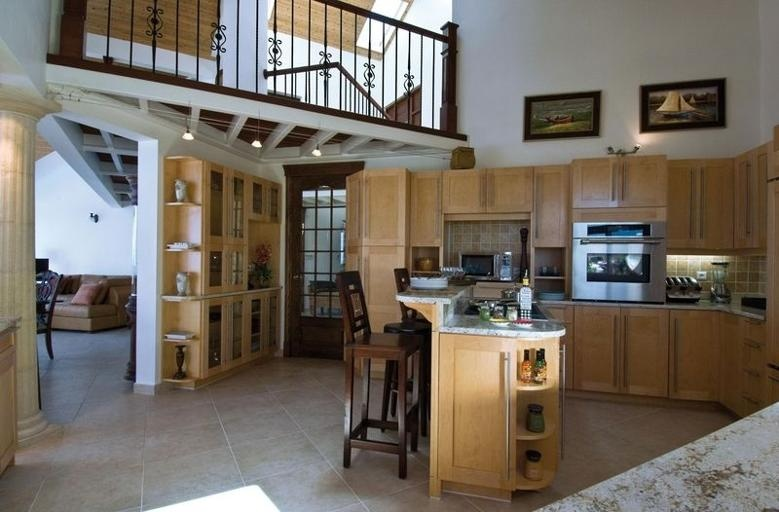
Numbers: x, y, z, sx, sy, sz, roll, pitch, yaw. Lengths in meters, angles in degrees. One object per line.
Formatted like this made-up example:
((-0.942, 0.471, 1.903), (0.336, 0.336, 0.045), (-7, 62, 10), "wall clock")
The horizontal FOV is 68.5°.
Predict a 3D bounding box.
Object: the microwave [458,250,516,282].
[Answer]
((1.336, 0.139, 7.840), (0.645, 0.387, 0.427), (1, -3, 15), "microwave")

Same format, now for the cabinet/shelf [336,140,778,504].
((1.899, 0.515, 6.992), (4.933, 2.320, 3.322), (-1, 0, -5), "cabinet/shelf")

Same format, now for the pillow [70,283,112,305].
((-5.586, 0.706, 10.682), (0.634, 0.450, 0.418), (-2, 1, -25), "pillow")

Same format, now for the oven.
((2.954, 0.073, 7.548), (1.084, 1.037, 0.747), (1, 3, 11), "oven")

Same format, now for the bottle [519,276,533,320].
((1.334, 0.414, 5.654), (0.107, 0.276, 0.306), (-1, 0, 9), "bottle")

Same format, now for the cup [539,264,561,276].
((2.163, 0.207, 7.765), (0.212, 0.124, 0.155), (0, -2, -4), "cup")

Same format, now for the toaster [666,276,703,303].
((3.686, 0.430, 7.202), (0.273, 0.239, 0.443), (-1, -3, 16), "toaster")

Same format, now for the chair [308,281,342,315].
((-0.995, 0.637, 9.214), (0.651, 0.593, 0.614), (0, -2, 0), "chair")

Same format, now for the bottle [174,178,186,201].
((-2.687, -0.834, 7.316), (0.163, 0.283, 0.153), (-1, 1, 0), "bottle")

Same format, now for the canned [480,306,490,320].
((0.943, 0.566, 5.637), (0.106, 0.123, 0.117), (2, -3, -30), "canned")

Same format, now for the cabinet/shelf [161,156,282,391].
((-2.296, 0.216, 7.958), (0.508, 2.844, 1.845), (-1, 1, 26), "cabinet/shelf")

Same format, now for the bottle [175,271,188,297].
((-2.637, 0.358, 7.305), (0.149, 0.288, 0.124), (-2, 1, -20), "bottle")

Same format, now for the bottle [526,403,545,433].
((1.384, 1.535, 5.437), (0.180, 0.174, 0.144), (-1, 0, 8), "bottle")

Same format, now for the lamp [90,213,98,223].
((-6.142, -0.802, 11.953), (0.173, 0.170, 0.171), (2, -4, -12), "lamp")
